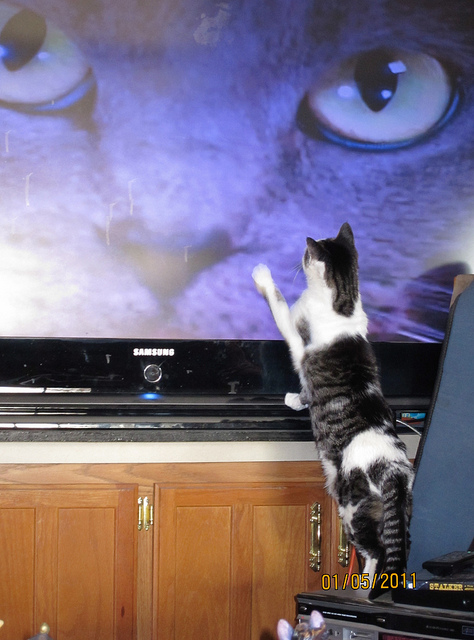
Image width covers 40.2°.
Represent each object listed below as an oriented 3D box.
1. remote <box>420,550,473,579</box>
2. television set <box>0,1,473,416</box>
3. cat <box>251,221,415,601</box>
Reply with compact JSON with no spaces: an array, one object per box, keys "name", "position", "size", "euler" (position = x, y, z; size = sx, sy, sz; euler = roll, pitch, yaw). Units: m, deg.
[{"name":"remote","position":[0.421,0.479,1.272],"size":[0.105,0.042,0.073],"euler":[2,-6,-19]},{"name":"television set","position":[-0.071,-0.332,1.940],"size":[1.563,0.901,0.183],"euler":[1,-4,-5]},{"name":"cat","position":[0.283,0.150,1.594],"size":[0.309,0.875,0.522],"euler":[2,-7,-22]}]
